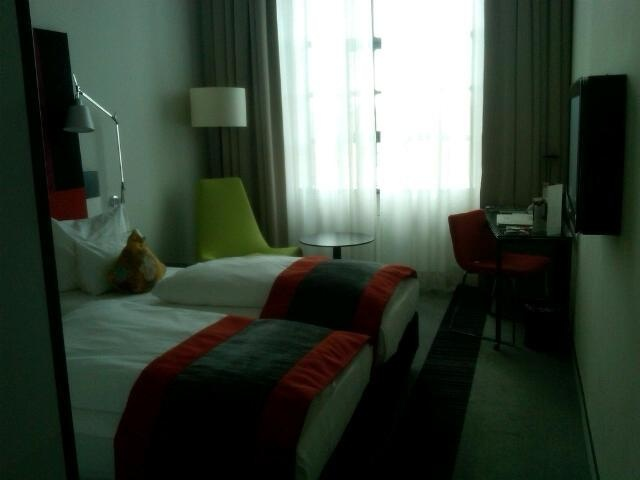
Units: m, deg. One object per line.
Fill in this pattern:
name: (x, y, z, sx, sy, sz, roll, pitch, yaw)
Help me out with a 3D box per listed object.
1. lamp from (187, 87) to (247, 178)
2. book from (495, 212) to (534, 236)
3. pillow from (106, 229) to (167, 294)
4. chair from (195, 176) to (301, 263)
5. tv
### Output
lamp: (-0.876, -1.044, 5.051, 0.360, 0.662, 0.369, -7, 11, -27)
book: (1.244, -0.133, 3.887, 0.158, 0.123, 0.171, 2, 11, 28)
pillow: (-1.056, 0.152, 3.699, 0.234, 0.413, 0.371, -1, -3, 3)
chair: (-0.660, -0.189, 5.070, 0.703, 1.001, 0.616, -1, 3, 36)
tv: (1.197, -0.340, 2.593, 0.210, 0.706, 0.247, 5, 15, 28)
